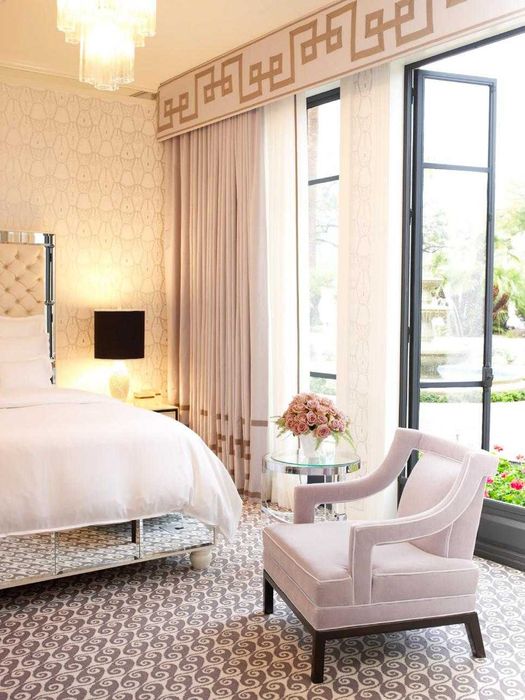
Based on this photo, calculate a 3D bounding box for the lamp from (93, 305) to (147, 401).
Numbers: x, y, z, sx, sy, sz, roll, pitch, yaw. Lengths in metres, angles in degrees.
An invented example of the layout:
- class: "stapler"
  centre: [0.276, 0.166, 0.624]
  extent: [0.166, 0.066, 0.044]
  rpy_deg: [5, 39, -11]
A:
- class: "lamp"
  centre: [-1.187, 0.012, 4.976]
  extent: [0.592, 1.100, 0.591]
  rpy_deg: [-1, 4, -18]

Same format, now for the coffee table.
- class: "coffee table"
  centre: [0.196, 0.687, 2.725]
  extent: [0.380, 0.277, 0.411]
  rpy_deg: [4, -8, 2]

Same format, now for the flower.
- class: "flower"
  centre: [0.260, 0.337, 2.770]
  extent: [0.317, 0.239, 0.319]
  rpy_deg: [13, 23, 20]

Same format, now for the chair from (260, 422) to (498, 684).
- class: "chair"
  centre: [0.369, 0.582, 2.050]
  extent: [0.689, 0.803, 0.714]
  rpy_deg: [2, -3, -17]

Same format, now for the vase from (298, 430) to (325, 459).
- class: "vase"
  centre: [0.237, 0.457, 2.699]
  extent: [0.111, 0.112, 0.117]
  rpy_deg: [0, -1, 18]
